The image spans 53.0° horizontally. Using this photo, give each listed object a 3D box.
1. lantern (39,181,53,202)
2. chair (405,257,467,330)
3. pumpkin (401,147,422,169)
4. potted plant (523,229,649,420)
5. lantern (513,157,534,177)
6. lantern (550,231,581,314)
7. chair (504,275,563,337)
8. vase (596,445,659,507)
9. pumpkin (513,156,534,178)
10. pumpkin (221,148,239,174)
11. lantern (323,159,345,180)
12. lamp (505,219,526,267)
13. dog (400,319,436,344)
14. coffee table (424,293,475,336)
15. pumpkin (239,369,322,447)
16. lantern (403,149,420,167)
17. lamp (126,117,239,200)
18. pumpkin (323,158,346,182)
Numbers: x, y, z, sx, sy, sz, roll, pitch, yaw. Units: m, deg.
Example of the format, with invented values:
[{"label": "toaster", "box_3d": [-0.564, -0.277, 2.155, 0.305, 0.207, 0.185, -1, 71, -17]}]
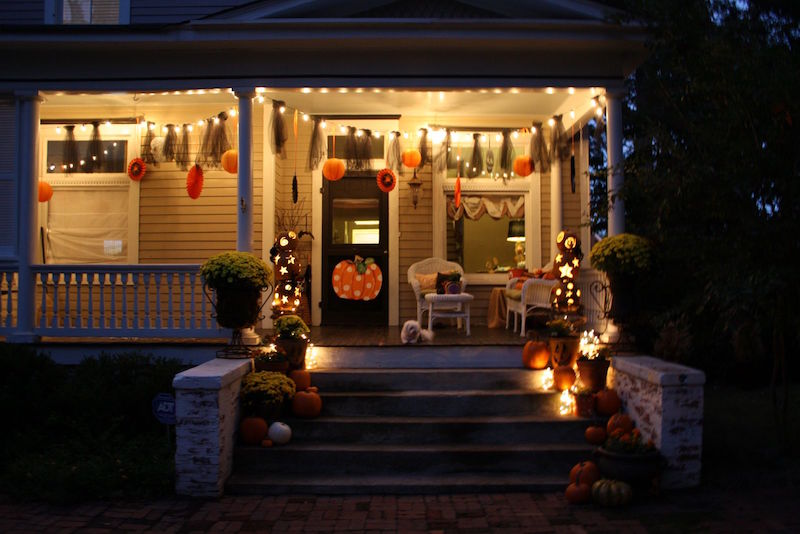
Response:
[{"label": "lantern", "box_3d": [-5.626, -1.194, 12.645, 0.183, 0.331, 0.622, 1, 0, -22]}, {"label": "chair", "box_3d": [0.631, 0.390, 12.384, 0.900, 1.118, 0.843, 0, 0, -8]}, {"label": "pumpkin", "box_3d": [0.173, -1.705, 12.655, 0.288, 0.282, 0.291, 2, 0, 24]}, {"label": "potted plant", "box_3d": [2.331, 0.766, 10.484, 1.247, 2.382, 1.393, -3, 6, -44]}, {"label": "lantern", "box_3d": [1.980, -1.563, 12.815, 0.312, 0.323, 0.323, 7, -14, -34]}, {"label": "lantern", "box_3d": [2.280, 0.078, 11.183, 0.415, 1.128, 0.430, 1, 7, 2]}, {"label": "chair", "box_3d": [1.967, 0.583, 11.976, 0.634, 0.784, 0.691, 0, 0, -1]}, {"label": "vase", "box_3d": [2.563, 2.244, 8.866, 0.703, 0.542, 0.365, 0, 0, 16]}, {"label": "pumpkin", "box_3d": [1.977, -1.552, 12.793, 0.327, 0.313, 0.341, 11, -25, 18]}, {"label": "pumpkin", "box_3d": [-2.646, -1.644, 12.336, 0.214, 0.354, 0.219, 1, -1, -28]}, {"label": "lantern", "box_3d": [-1.063, -1.577, 12.777, 0.397, 0.397, 0.849, 1, 0, -5]}, {"label": "lamp", "box_3d": [1.981, -0.417, 13.746, 0.241, 0.808, 0.750, 1, 0, -5]}, {"label": "dog", "box_3d": [0.240, 0.890, 10.811, 0.258, 0.224, 0.403, -5, -11, 29]}, {"label": "coffee table", "box_3d": [0.682, 0.674, 12.019, 0.665, 0.623, 0.551, 1, 5, -18]}, {"label": "pumpkin", "box_3d": [-1.462, 1.660, 9.569, 0.782, 0.885, 0.764, 12, 3, -15]}, {"label": "lantern", "box_3d": [0.199, -1.700, 12.688, 0.268, 0.345, 0.263, -1, -5, 10]}, {"label": "lamp", "box_3d": [-3.405, -1.795, 12.562, 1.661, 1.442, 0.963, 1, 3, -40]}, {"label": "pumpkin", "box_3d": [-1.008, -1.515, 12.556, 0.373, 0.347, 0.374, 0, -3, -23]}]
